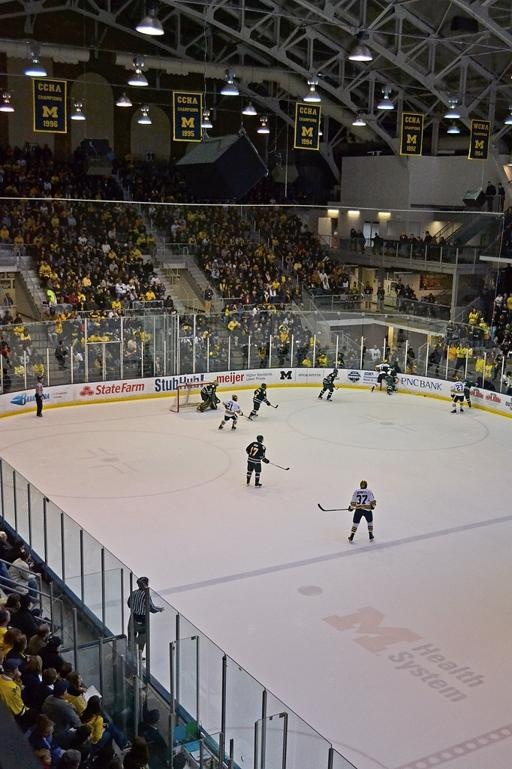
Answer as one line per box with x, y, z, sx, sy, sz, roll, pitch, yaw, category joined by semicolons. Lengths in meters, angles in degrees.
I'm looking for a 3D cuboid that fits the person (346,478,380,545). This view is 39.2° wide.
2.147;2.438;14.596;0.509;1.436;1.388;3;12;9;person

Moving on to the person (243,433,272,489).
0.020;1.760;17.119;0.487;1.512;1.368;1;12;-1;person

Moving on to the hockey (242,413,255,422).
-0.234;0.980;24.041;0.424;0.294;0.741;1;11;-3;hockey

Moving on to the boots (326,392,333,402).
2.747;0.426;26.874;0.172;0.323;0.270;-3;7;-37;boots

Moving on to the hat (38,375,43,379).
-6.974;-0.265;23.325;0.184;0.125;0.224;-2;-3;36;hat

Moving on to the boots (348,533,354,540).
1.871;3.025;14.337;0.070;0.149;0.169;5;9;-5;boots

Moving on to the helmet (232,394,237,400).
-0.651;0.370;21.414;0.112;0.154;0.149;10;36;-1;helmet

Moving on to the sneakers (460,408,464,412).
7.312;0.880;25.711;0.090;0.119;0.038;-2;0;-7;sneakers
